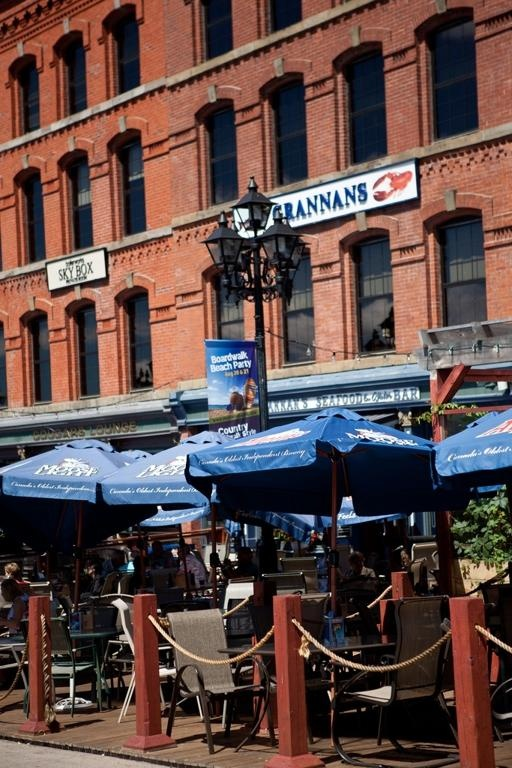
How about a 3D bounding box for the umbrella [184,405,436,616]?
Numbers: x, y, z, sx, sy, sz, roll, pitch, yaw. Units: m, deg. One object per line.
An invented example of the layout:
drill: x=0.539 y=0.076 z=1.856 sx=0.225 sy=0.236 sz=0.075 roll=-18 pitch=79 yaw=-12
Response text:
umbrella: x=0.624 y=1.194 z=14.717 sx=1.919 sy=1.377 sz=1.878 roll=-1 pitch=0 yaw=-40
